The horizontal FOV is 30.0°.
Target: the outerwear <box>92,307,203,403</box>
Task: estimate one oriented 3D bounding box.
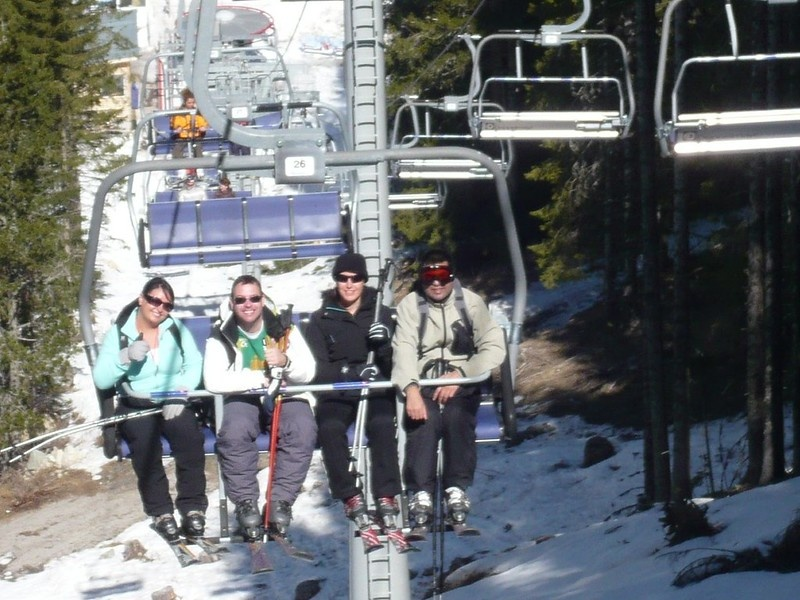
[{"bbox_3d":[-3.436,0.835,21.349,1.851,1.627,1.160,-1,-5,-19],"label":"outerwear"}]

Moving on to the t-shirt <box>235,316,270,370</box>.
[{"bbox_3d":[-2.088,0.681,21.210,0.554,0.702,0.389,-12,25,-21],"label":"t-shirt"}]

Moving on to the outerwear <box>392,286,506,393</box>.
[{"bbox_3d":[0.621,0.479,21.253,1.625,1.510,1.108,-5,8,-2],"label":"outerwear"}]

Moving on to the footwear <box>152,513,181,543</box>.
[{"bbox_3d":[-3.257,3.227,20.999,0.204,0.267,0.599,-23,38,-30],"label":"footwear"}]

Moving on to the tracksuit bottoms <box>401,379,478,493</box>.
[{"bbox_3d":[0.548,2.022,21.318,1.404,2.126,1.215,0,-11,1],"label":"tracksuit bottoms"}]

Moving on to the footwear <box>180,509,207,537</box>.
[{"bbox_3d":[-2.914,3.166,21.006,0.349,0.386,0.274,-7,6,-4],"label":"footwear"}]

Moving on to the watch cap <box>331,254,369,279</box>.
[{"bbox_3d":[-0.701,-0.510,21.481,0.391,0.297,0.391,2,-22,-1],"label":"watch cap"}]

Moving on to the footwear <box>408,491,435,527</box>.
[{"bbox_3d":[0.278,2.920,20.774,0.307,0.498,0.212,2,-6,1],"label":"footwear"}]

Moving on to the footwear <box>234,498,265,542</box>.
[{"bbox_3d":[-2.082,3.053,20.615,0.329,0.558,0.219,-11,44,12],"label":"footwear"}]

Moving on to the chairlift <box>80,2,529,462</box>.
[{"bbox_3d":[-1.499,-1.254,22.604,6.385,6.684,4.561,-7,6,2],"label":"chairlift"}]

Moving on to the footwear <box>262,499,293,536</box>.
[{"bbox_3d":[-1.654,3.022,20.641,0.335,0.436,0.449,4,-39,-8],"label":"footwear"}]

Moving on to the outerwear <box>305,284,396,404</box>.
[{"bbox_3d":[-0.889,0.722,21.846,1.716,2.037,1.397,1,-6,-15],"label":"outerwear"}]

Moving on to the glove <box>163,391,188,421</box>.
[{"bbox_3d":[-3.167,1.456,20.943,0.356,0.458,0.136,13,-8,1],"label":"glove"}]

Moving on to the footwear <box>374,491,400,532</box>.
[{"bbox_3d":[-0.145,2.964,20.922,0.417,0.624,0.671,0,3,-4],"label":"footwear"}]

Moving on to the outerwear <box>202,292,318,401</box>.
[{"bbox_3d":[-1.719,0.554,21.072,1.096,1.376,0.471,14,32,14],"label":"outerwear"}]
